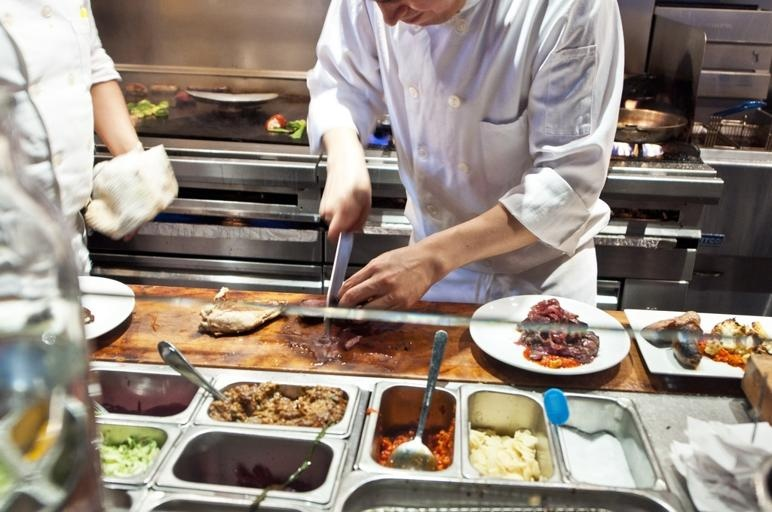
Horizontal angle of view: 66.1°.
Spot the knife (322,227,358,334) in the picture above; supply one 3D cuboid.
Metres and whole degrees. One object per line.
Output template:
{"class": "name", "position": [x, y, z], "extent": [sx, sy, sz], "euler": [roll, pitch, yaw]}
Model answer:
{"class": "knife", "position": [-0.149, 0.062, 1.802], "extent": [0.060, 0.394, 0.028], "euler": [-1, 52, -17]}

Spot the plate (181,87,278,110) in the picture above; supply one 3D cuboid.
{"class": "plate", "position": [-0.901, -0.914, 3.443], "extent": [0.513, 0.088, 0.187], "euler": [2, 22, -7]}

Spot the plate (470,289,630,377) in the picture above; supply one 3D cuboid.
{"class": "plate", "position": [0.453, 0.175, 1.653], "extent": [0.423, 0.172, 0.361], "euler": [6, 27, 10]}

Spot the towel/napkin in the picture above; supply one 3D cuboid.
{"class": "towel/napkin", "position": [-0.841, -0.207, 2.139], "extent": [0.349, 0.139, 0.275], "euler": [-32, 72, 4]}
